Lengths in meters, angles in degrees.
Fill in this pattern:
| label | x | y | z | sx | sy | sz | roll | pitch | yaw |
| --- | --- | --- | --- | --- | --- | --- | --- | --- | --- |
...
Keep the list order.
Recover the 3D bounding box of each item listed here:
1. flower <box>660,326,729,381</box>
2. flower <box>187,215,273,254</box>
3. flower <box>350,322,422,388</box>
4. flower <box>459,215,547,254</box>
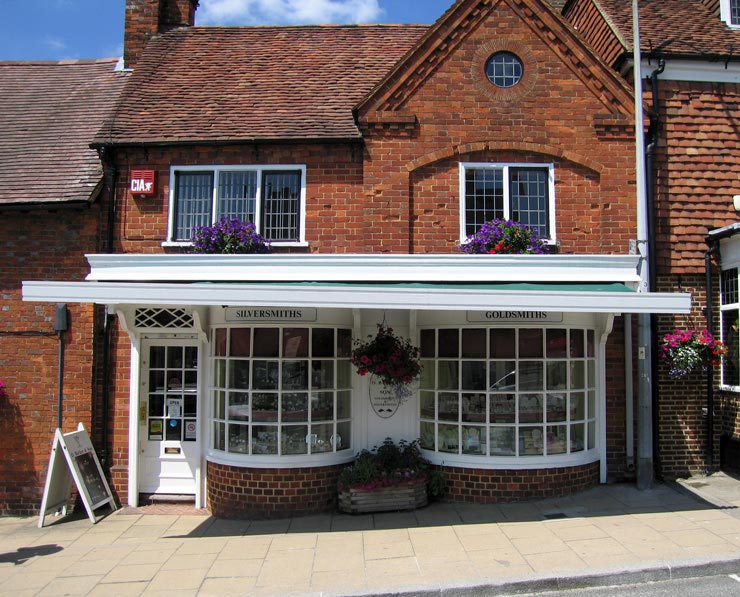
| label | x | y | z | sx | sy | sz | roll | pitch | yaw |
| --- | --- | --- | --- | --- | --- | --- | --- | --- | --- |
| flower | 5.976 | 0.999 | 16.811 | 1.023 | 0.868 | 0.953 | -2 | -2 | -32 |
| flower | -2.594 | -1.158 | 16.636 | 0.886 | 0.624 | 0.789 | 0 | 2 | -10 |
| flower | 0.236 | 1.032 | 16.361 | 1.162 | 1.103 | 1.143 | -1 | 8 | -16 |
| flower | 2.428 | -1.077 | 16.406 | 1.539 | 0.613 | 0.474 | -1 | 12 | 6 |
